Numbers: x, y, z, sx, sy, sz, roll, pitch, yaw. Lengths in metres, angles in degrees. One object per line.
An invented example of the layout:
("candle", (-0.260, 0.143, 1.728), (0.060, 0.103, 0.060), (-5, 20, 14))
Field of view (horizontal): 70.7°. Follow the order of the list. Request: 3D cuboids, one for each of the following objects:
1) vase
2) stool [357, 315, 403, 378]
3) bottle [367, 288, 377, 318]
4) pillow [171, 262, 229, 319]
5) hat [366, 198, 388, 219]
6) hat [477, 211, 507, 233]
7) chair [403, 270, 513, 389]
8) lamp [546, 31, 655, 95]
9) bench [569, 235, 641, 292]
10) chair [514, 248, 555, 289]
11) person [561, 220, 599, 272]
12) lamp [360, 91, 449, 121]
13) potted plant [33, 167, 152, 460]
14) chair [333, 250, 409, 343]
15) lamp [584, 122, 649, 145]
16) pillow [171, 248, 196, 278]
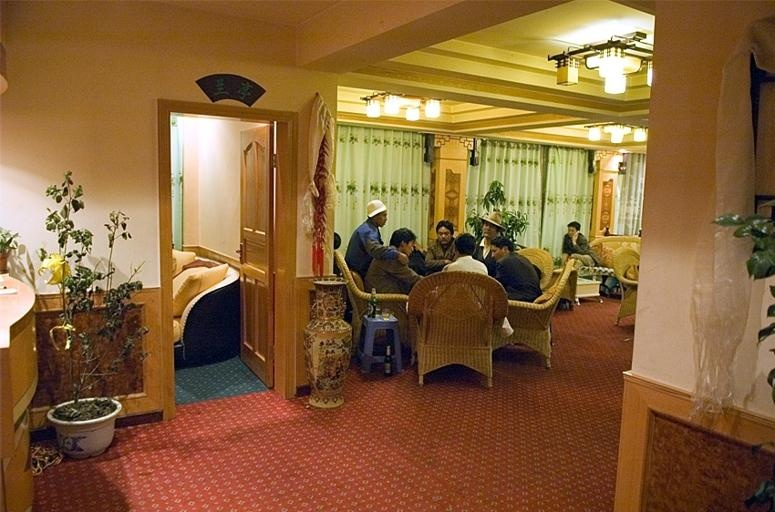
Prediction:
("vase", (-0.549, 0.790, 4.969), (0.413, 1.145, 0.328), (-1, 12, -9))
("stool", (-0.079, 0.950, 5.970), (0.577, 0.603, 0.564), (0, 3, -9))
("bottle", (-0.161, 0.491, 5.911), (0.117, 0.299, 0.292), (1, 12, -1))
("pillow", (-2.057, 0.343, 6.010), (0.558, 0.478, 0.656), (-3, 12, -20))
("hat", (-0.166, -0.534, 6.651), (0.217, 0.139, 0.261), (-30, 1, -44))
("hat", (1.553, -0.483, 7.751), (0.360, 0.185, 0.437), (12, -26, 33))
("chair", (0.693, 0.654, 5.771), (1.067, 1.453, 1.088), (0, 9, 2))
("lamp", (2.237, -1.932, 5.589), (0.798, 0.600, 1.334), (8, 13, 28))
("bench", (3.555, 0.161, 8.984), (0.911, 0.944, 0.942), (4, 1, -35))
("chair", (1.911, 0.174, 7.073), (0.368, 0.412, 0.411), (-25, -2, -27))
("person", (3.588, -0.014, 10.203), (0.623, 1.234, 0.574), (2, 1, -18))
("lamp", (0.181, -2.088, 7.706), (0.970, 0.330, 1.852), (1, 12, -2))
("potted plant", (-2.264, 0.427, 4.186), (0.751, 2.086, 0.679), (-4, 13, -25))
("chair", (-0.320, 0.422, 6.445), (0.979, 1.144, 0.853), (-1, 6, -13))
("lamp", (3.900, -2.079, 9.383), (0.990, 0.294, 2.382), (6, 12, 19))
("pillow", (-2.327, 0.093, 6.218), (0.265, 0.299, 0.259), (-6, 15, -25))
